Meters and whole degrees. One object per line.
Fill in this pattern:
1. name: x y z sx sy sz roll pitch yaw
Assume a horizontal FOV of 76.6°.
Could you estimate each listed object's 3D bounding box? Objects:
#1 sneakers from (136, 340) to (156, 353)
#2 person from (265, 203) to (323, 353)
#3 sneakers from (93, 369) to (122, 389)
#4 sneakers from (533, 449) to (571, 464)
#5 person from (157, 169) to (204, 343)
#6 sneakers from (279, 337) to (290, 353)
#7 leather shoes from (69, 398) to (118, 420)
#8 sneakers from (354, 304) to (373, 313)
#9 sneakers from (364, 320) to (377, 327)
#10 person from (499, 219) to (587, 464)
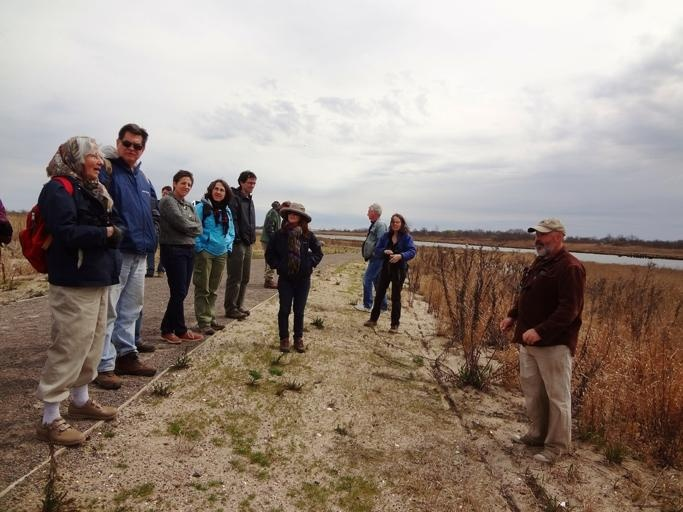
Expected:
1. sneakers: -3.364 1.558 7.492 0.372 0.168 0.142 8 8 -6
2. person: -0.890 0.423 8.120 1.018 2.837 0.879 -2 5 -11
3. sneakers: -3.342 1.818 6.301 0.491 0.229 0.191 8 -3 14
4. sneakers: 2.994 2.836 6.147 0.470 0.204 0.183 2 -18 -3
5. person: -2.941 0.048 7.821 0.739 3.131 0.597 -3 5 -26
6. sneakers: -1.076 1.686 8.107 0.115 0.253 0.361 2 -28 -5
7. leather shoes: -3.242 2.009 5.717 0.673 0.308 0.252 4 1 -14
8. sneakers: 0.607 1.539 12.597 0.478 0.219 0.196 14 15 -3
9. sneakers: 0.703 1.682 10.705 0.327 0.158 0.130 17 -16 -25
10. person: 2.999 1.172 6.374 1.008 3.416 1.054 2 5 28
